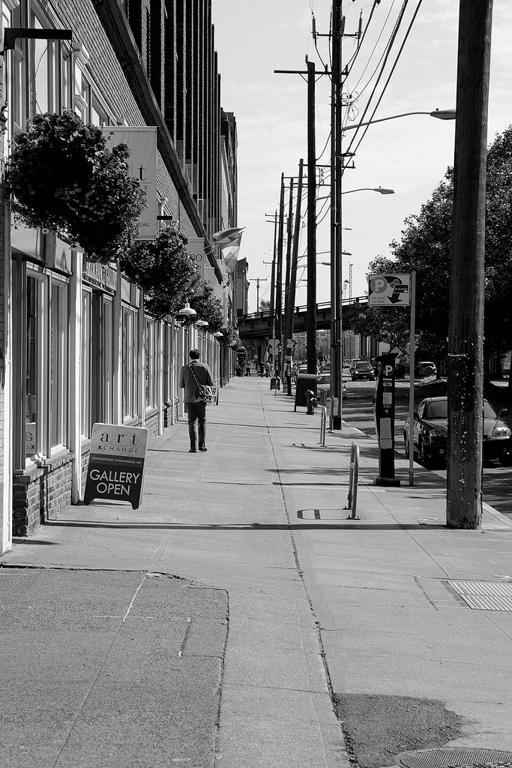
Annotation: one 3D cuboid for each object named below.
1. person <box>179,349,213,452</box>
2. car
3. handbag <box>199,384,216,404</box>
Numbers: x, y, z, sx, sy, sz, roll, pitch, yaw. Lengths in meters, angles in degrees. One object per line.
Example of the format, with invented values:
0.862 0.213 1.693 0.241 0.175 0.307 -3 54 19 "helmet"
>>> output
-1.026 0.250 17.061 0.531 1.708 2.366 -1 0 -3 "person"
3.333 0.814 17.089 1.001 1.350 2.562 -1 -6 -4 "car"
-0.794 0.136 16.266 0.237 0.257 0.761 -1 0 -8 "handbag"
